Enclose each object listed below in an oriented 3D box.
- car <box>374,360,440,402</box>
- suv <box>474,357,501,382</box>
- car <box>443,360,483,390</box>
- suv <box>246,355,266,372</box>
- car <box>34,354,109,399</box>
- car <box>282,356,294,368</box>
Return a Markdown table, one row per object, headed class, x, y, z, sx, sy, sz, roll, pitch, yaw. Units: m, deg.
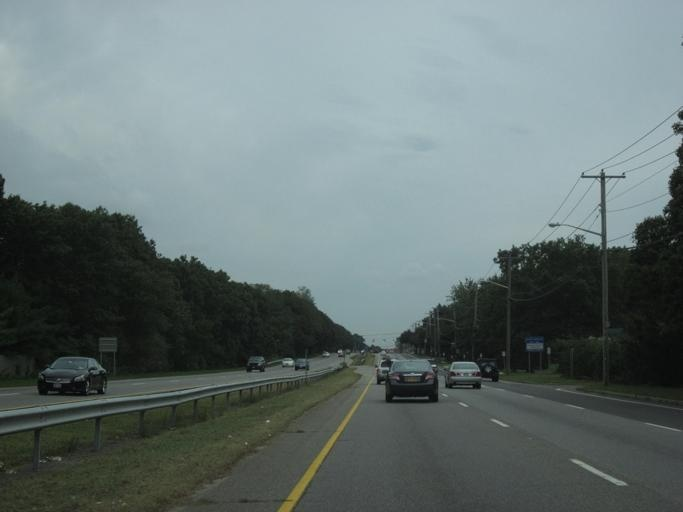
| class | x | y | z | sx | sy | sz | roll | pitch | yaw |
| --- | --- | --- | --- | --- | --- | --- | --- | --- | --- |
| car | 2.912 | 5.091 | 30.017 | 2.087 | 1.758 | 1.092 | 3 | -13 | 4 |
| suv | 11.464 | 8.809 | 57.001 | 1.370 | 1.614 | 2.690 | 1 | -3 | 7 |
| car | 7.052 | 6.812 | 42.309 | 1.901 | 1.563 | 1.208 | -4 | -15 | 25 |
| suv | -9.697 | 12.098 | 82.936 | 1.607 | 1.651 | 3.175 | 0 | -18 | 1 |
| car | -11.001 | 5.053 | 30.830 | 1.354 | 1.065 | 3.011 | 0 | -14 | 2 |
| car | -8.535 | 17.079 | 116.506 | 1.472 | 1.412 | 3.620 | 1 | -1 | 4 |
